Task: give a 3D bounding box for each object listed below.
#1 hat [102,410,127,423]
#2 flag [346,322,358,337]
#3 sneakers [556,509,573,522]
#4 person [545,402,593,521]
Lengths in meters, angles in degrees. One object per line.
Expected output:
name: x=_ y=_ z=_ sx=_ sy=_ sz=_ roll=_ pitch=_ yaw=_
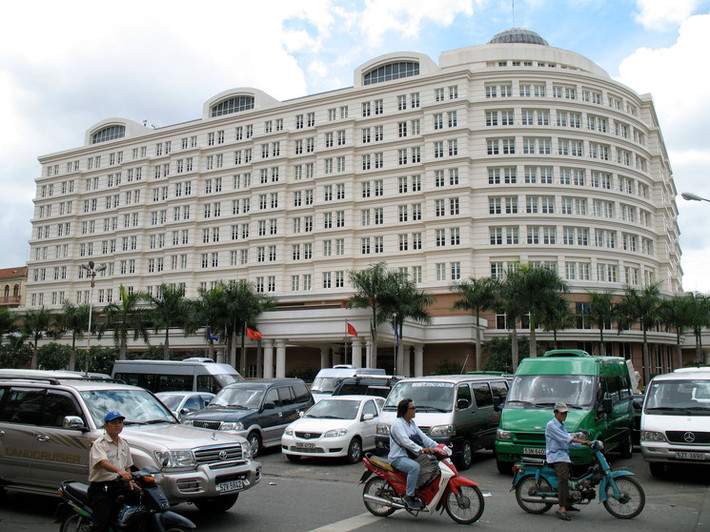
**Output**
hat: x=-4.458 y=2.759 z=13.979 sx=0.340 sy=0.222 sz=0.446 roll=3 pitch=-8 yaw=-23
flag: x=-0.220 y=4.428 z=53.331 sx=0.100 sy=0.858 sz=0.876 roll=-25 pitch=-37 yaw=32
sneakers: x=4.399 y=5.208 z=15.915 sx=0.304 sy=0.228 sz=0.310 roll=0 pitch=-9 yaw=6
person: x=4.412 y=4.109 z=16.005 sx=0.752 sy=2.389 sz=0.543 roll=6 pitch=-10 yaw=-22
